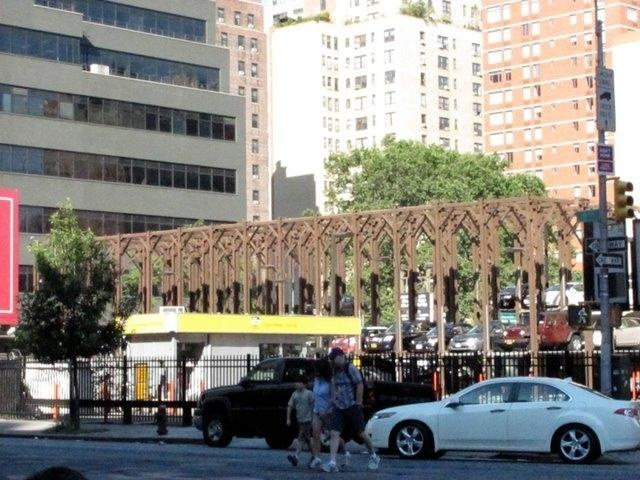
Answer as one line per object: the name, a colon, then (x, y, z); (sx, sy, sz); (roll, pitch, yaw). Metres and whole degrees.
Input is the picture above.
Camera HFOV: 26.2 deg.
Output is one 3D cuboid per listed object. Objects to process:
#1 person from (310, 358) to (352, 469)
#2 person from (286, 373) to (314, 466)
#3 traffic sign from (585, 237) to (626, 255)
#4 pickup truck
person: (0.161, 5.621, 44.445); (1.049, 3.632, 1.182); (3, -6, -40)
person: (-0.630, 5.864, 44.836); (0.943, 2.891, 1.371); (-1, 2, 32)
traffic sign: (10.251, 0.225, 49.548); (1.458, 0.631, 0.900); (-3, -8, 11)
pickup truck: (-0.777, 6.032, 52.161); (7.505, 3.353, 2.909); (-3, -5, 28)
